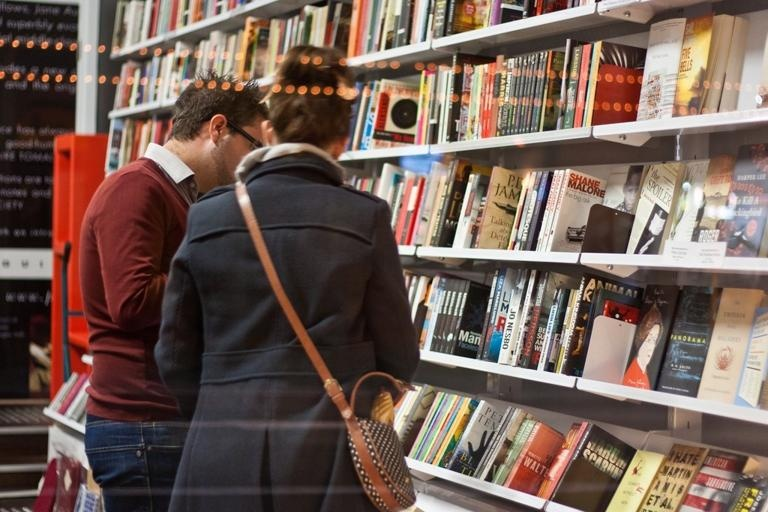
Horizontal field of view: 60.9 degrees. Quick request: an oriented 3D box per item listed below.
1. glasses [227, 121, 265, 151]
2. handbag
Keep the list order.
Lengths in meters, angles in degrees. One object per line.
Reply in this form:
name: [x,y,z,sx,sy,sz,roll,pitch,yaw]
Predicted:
glasses: [-0.594,-0.511,2.800,0.139,0.037,0.139,37,0,16]
handbag: [-0.005,0.589,2.066,0.098,0.387,0.274,-20,-11,16]
